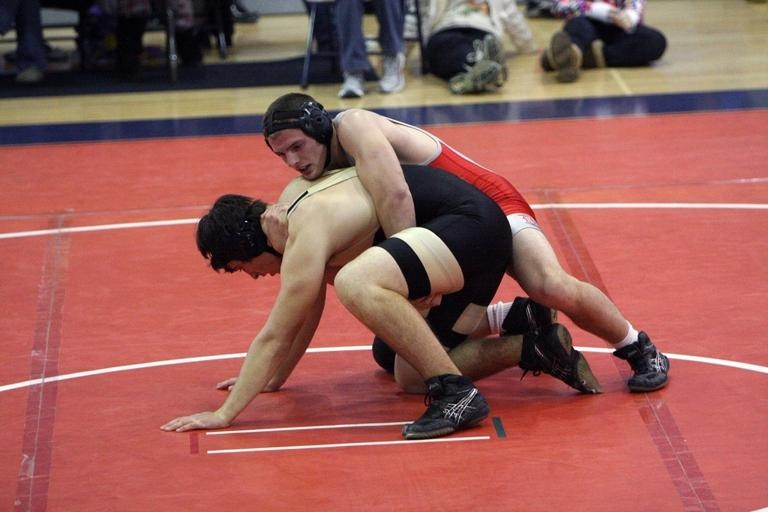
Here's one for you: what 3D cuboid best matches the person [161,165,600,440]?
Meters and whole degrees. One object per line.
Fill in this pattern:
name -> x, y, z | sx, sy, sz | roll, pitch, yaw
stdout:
person -> 0.017, 0.185, 3.201 | 1.607, 0.915, 1.030 | -6, -2, -3

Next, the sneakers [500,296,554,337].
sneakers -> 0.615, 0.274, 3.232 | 0.301, 0.124, 0.104 | -26, 20, 37
